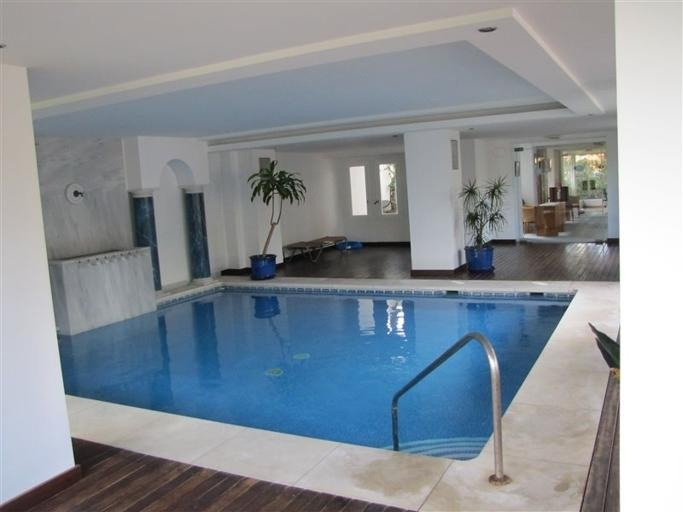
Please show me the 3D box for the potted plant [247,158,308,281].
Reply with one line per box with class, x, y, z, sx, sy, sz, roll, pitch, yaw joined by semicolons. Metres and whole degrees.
potted plant;-1.518;-0.837;11.033;1.424;2.784;1.482;7;-7;-30
